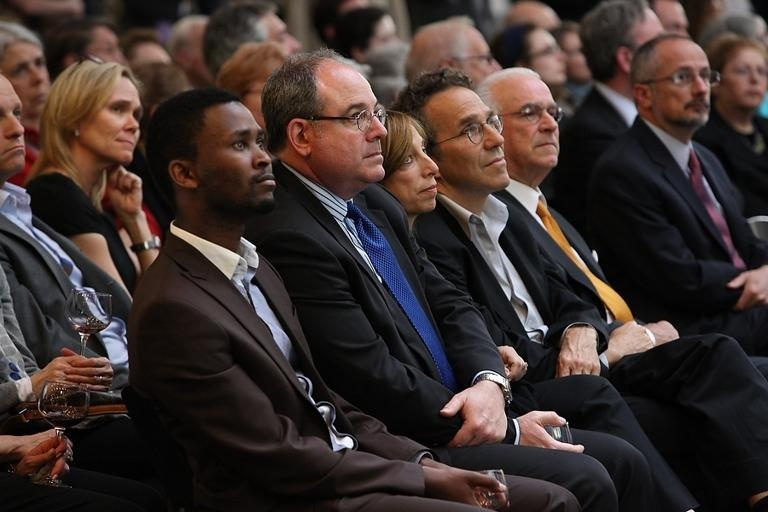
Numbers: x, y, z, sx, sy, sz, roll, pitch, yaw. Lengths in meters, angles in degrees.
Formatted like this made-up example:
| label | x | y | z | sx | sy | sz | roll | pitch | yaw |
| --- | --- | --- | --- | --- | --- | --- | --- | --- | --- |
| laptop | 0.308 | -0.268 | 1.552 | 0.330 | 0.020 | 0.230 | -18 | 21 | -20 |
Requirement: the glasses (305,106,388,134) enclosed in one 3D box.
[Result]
| label | x | y | z | sx | sy | sz | roll | pitch | yaw |
| --- | --- | --- | --- | --- | --- | --- | --- | --- | --- |
| glasses | -0.159 | -0.692 | 4.081 | 0.445 | 0.110 | 0.134 | -10 | -6 | -30 |

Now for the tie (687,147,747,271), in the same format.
| label | x | y | z | sx | sy | sz | roll | pitch | yaw |
| --- | --- | --- | --- | --- | --- | --- | --- | --- | --- |
| tie | 2.399 | -0.321 | 5.777 | 0.134 | 1.068 | 0.146 | -23 | -11 | -17 |

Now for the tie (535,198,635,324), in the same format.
| label | x | y | z | sx | sy | sz | roll | pitch | yaw |
| --- | --- | --- | --- | --- | --- | --- | --- | --- | --- |
| tie | 1.334 | 0.051 | 5.260 | 0.197 | 0.819 | 0.196 | -6 | -22 | -41 |
